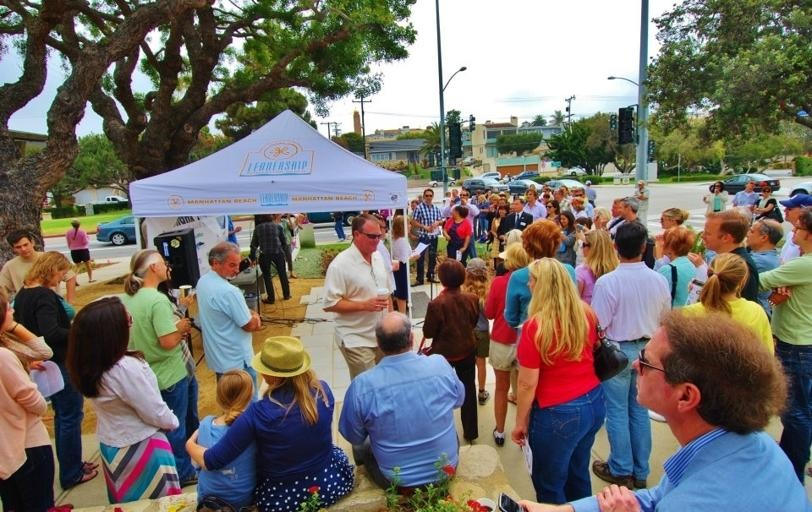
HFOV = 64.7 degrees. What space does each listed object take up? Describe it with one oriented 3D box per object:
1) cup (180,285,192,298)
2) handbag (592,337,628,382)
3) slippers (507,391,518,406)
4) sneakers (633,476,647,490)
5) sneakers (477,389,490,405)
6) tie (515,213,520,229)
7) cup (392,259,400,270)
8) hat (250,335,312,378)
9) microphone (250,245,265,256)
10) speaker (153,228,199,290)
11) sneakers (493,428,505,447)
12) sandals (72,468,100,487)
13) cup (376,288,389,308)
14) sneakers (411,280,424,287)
[{"bbox_3d":[-3.202,0.512,9.260,0.246,0.178,0.191,-1,10,-10],"label":"cup"},{"bbox_3d":[2.502,1.246,7.846,0.240,0.463,0.455,-4,51,-31],"label":"handbag"},{"bbox_3d":[1.605,2.124,9.675,0.096,0.203,0.159,1,7,18],"label":"slippers"},{"bbox_3d":[3.084,2.982,8.381,0.150,0.161,0.263,-4,-7,14],"label":"sneakers"},{"bbox_3d":[1.198,2.156,9.853,0.158,0.206,0.199,-1,6,8],"label":"sneakers"},{"bbox_3d":[2.633,-0.822,14.936,0.102,0.322,0.231,2,-6,-30],"label":"tie"},{"bbox_3d":[-0.173,0.159,10.624,0.143,0.135,0.143,-2,2,0],"label":"cup"},{"bbox_3d":[-1.461,1.169,7.480,0.547,0.207,0.492,11,18,20],"label":"hat"},{"bbox_3d":[-3.186,-0.099,13.729,0.237,0.306,0.285,-3,9,-22],"label":"microphone"},{"bbox_3d":[-3.901,0.061,10.898,0.663,1.003,0.397,-4,7,-22],"label":"speaker"},{"bbox_3d":[1.330,2.574,9.017,0.116,0.102,0.244,0,9,2],"label":"sneakers"},{"bbox_3d":[-4.342,2.992,8.688,0.133,0.097,0.273,15,26,33],"label":"sandals"},{"bbox_3d":[-0.311,0.593,9.096,0.177,0.259,0.180,-1,6,0],"label":"cup"},{"bbox_3d":[0.257,0.645,15.068,0.325,0.224,0.106,-5,5,-11],"label":"sneakers"}]
